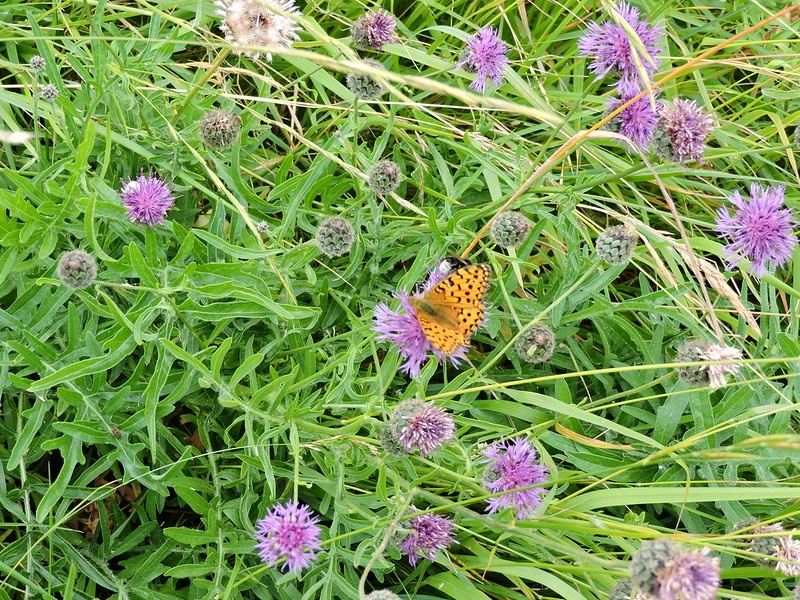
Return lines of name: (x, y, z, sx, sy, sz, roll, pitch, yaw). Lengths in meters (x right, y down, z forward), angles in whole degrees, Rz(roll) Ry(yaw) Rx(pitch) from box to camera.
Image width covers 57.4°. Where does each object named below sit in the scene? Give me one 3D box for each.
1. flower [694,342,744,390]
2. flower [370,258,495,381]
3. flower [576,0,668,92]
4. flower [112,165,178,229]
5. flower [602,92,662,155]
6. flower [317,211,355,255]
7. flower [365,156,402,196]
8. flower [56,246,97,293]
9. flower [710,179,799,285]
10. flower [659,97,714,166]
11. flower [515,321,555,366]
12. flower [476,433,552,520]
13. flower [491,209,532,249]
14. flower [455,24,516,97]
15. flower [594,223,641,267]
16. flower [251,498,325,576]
flower: (1.467, 0.309, 3.397, 0.176, 0.159, 0.171, -39, 121, -21)
flower: (0.153, 0.044, 3.267, 0.522, 0.215, 0.493, 44, 48, 17)
flower: (1.142, -1.295, 3.860, 0.529, 0.550, 0.340, -17, 99, 4)
flower: (-1.309, -0.505, 3.787, 0.304, 0.192, 0.314, 30, 53, -16)
flower: (1.206, -0.936, 3.812, 0.271, 0.266, 0.281, -38, 128, -44)
flower: (-0.325, -0.349, 3.744, 0.173, 0.191, 0.196, 10, 98, -6)
flower: (-0.084, -0.666, 3.879, 0.162, 0.178, 0.173, 0, 45, 6)
flower: (-1.416, -0.137, 3.211, 0.169, 0.178, 0.183, -5, 92, -49)
flower: (1.709, -0.320, 3.708, 0.494, 0.325, 0.539, -3, 89, -5)
flower: (1.402, -0.844, 3.637, 0.229, 0.193, 0.346, -9, 71, -17)
flower: (0.712, 0.240, 3.804, 0.202, 0.210, 0.131, 48, 19, -10)
flower: (0.524, 0.780, 3.328, 0.339, 0.325, 0.344, -39, 119, -52)
flower: (0.557, -0.363, 3.820, 0.188, 0.197, 0.187, -26, 108, -20)
flower: (0.442, -1.380, 4.050, 0.165, 0.207, 0.203, 9, 36, -43)
flower: (1.050, -0.260, 3.608, 0.167, 0.199, 0.181, 3, 76, -12)
flower: (-0.491, 1.017, 3.121, 0.244, 0.518, 0.290, -14, 71, -18)
